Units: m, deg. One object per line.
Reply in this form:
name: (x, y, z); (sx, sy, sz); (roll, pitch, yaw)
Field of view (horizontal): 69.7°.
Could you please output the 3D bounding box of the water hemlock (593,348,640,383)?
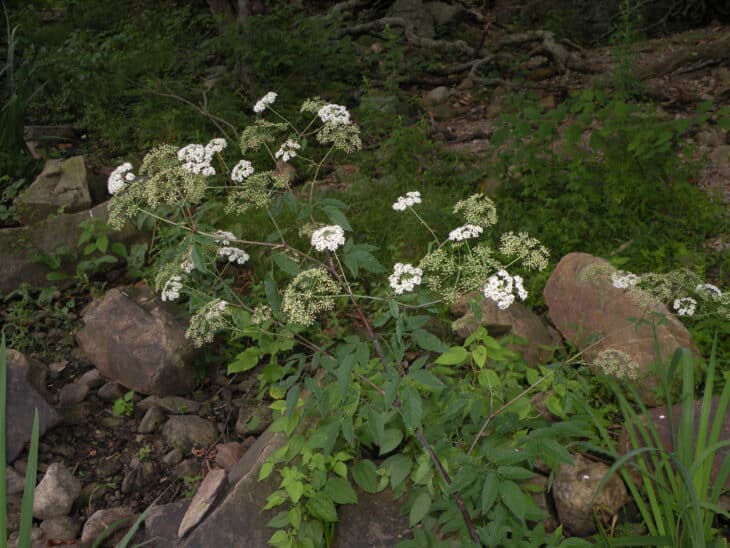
water hemlock: (1.855, 0.676, 3.840); (0.252, 0.099, 0.288); (-39, 56, -6)
